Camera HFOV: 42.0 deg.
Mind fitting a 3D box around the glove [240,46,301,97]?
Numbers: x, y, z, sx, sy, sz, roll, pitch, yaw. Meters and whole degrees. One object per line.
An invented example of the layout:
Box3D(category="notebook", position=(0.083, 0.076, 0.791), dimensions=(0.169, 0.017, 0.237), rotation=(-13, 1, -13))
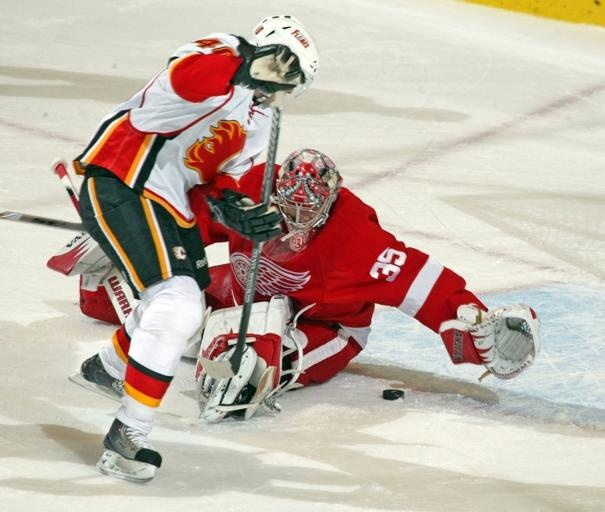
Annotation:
Box3D(category="glove", position=(-0.112, -0.595, 2.562), dimensions=(0.244, 0.106, 0.124), rotation=(4, -12, 1))

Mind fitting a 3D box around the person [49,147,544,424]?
Box3D(category="person", position=(-0.137, 0.149, 3.282), dimensions=(2.235, 0.727, 0.893), rotation=(18, 44, -1))
